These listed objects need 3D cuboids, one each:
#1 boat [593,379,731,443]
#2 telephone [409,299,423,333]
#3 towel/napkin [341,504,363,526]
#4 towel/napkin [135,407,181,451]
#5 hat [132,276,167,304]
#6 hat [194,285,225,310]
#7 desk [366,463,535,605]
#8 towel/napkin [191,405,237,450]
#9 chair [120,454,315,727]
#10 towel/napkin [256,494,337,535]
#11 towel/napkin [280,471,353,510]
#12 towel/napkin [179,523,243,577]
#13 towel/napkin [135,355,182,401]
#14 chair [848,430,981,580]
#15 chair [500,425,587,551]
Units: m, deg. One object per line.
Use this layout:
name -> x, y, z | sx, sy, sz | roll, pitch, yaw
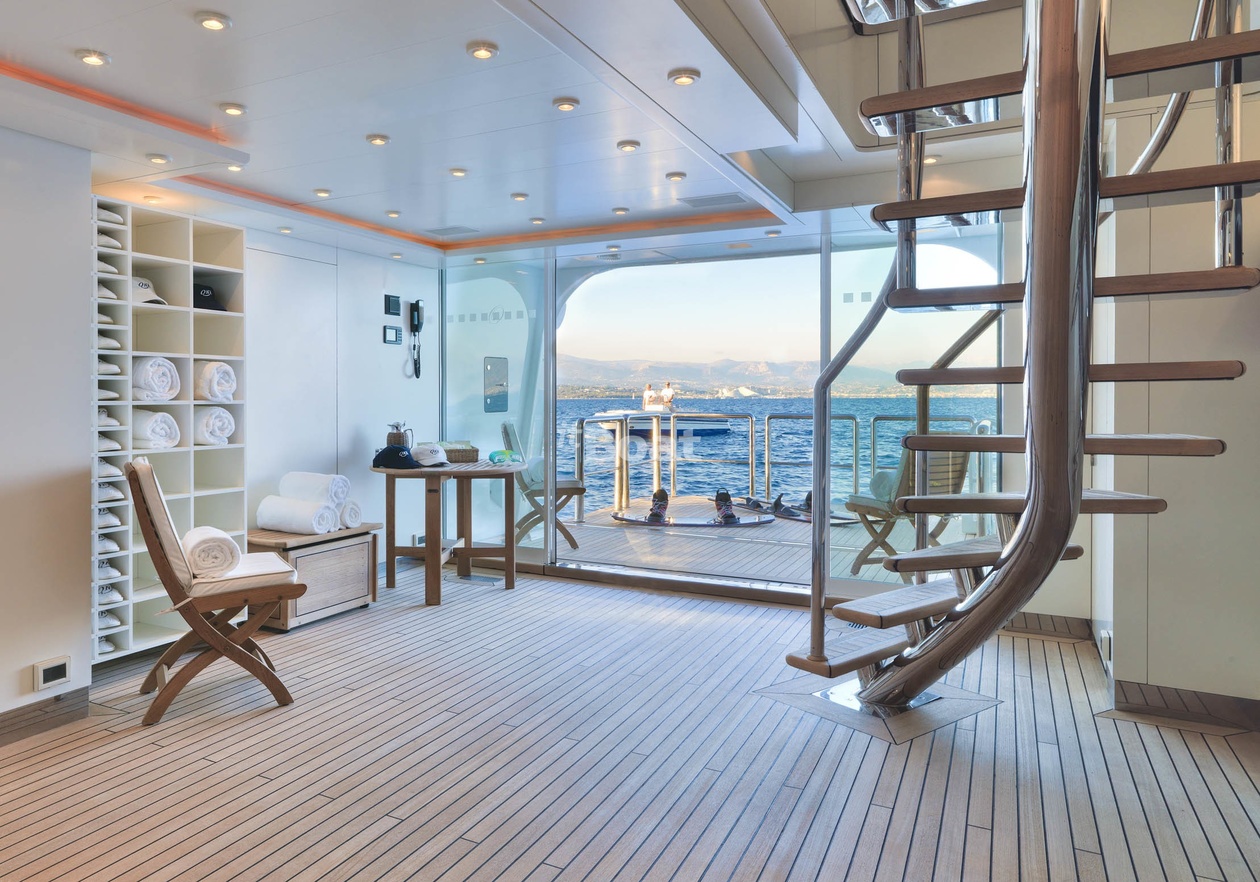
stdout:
boat -> 0.515, -0.355, 10.352 | 1.840, 0.614, 0.523 | 1, -3, 21
telephone -> -1.848, -1.061, 6.992 | 0.068, 0.288, 0.177 | 0, 4, 20
towel/napkin -> -2.006, 0.534, 5.806 | 0.050, 0.135, 0.144 | -1, -4, 20
towel/napkin -> -2.853, -0.077, 4.865 | 0.263, 0.228, 0.107 | 7, 0, -8
hat -> -2.910, -0.888, 4.845 | 0.140, 0.169, 0.241 | -2, 4, 0
hat -> -2.810, -0.930, 5.360 | 0.170, 0.221, 0.084 | 8, -1, -43
desk -> -1.464, 0.703, 6.524 | 1.159, 0.926, 1.175 | -1, 2, -34
towel/napkin -> -2.651, -0.086, 5.178 | 0.239, 0.276, 0.312 | -1, 1, -40
chair -> -2.586, 0.869, 4.527 | 1.091, 1.391, 1.090 | -9, -9, 41
towel/napkin -> -2.294, 0.430, 5.603 | 0.422, 0.213, 0.294 | 4, 4, 27
towel/napkin -> -2.202, 0.318, 5.777 | 0.512, 0.193, 0.248 | 5, 10, 12
towel/napkin -> -2.284, 0.590, 4.370 | 0.241, 0.195, 0.328 | 8, 2, -28
towel/napkin -> -2.853, -0.362, 4.845 | 0.238, 0.275, 0.133 | -4, 5, -34
chair -> 1.942, 0.458, 5.687 | 0.906, 0.922, 0.787 | 0, 3, 27
chair -> -0.747, 0.431, 7.168 | 0.747, 0.830, 0.685 | 3, -1, 22
